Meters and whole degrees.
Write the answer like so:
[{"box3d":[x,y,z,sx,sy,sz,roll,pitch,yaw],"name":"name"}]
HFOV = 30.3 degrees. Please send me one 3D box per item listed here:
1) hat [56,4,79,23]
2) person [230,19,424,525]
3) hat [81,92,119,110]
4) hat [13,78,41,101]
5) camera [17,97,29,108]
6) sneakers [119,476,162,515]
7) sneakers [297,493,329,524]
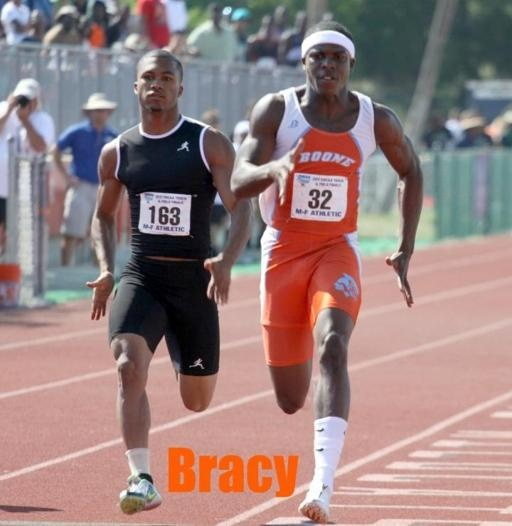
[{"box3d":[-1.743,-2.293,8.672,0.162,0.208,0.175,-12,48,-4],"name":"hat"},{"box3d":[0.283,-0.110,3.782,0.737,1.722,1.014,2,5,10],"name":"person"},{"box3d":[-1.648,-1.723,9.987,0.325,0.086,0.316,-1,2,-18],"name":"hat"},{"box3d":[-1.984,-1.486,8.139,0.160,0.125,0.241,3,10,3],"name":"hat"},{"box3d":[-2.015,-1.377,8.110,0.060,0.078,0.071,1,28,-2],"name":"camera"},{"box3d":[-0.405,0.833,3.390,0.163,0.159,0.100,-8,-23,-3],"name":"sneakers"},{"box3d":[0.201,0.864,3.279,0.101,0.119,0.119,1,5,2],"name":"sneakers"}]
